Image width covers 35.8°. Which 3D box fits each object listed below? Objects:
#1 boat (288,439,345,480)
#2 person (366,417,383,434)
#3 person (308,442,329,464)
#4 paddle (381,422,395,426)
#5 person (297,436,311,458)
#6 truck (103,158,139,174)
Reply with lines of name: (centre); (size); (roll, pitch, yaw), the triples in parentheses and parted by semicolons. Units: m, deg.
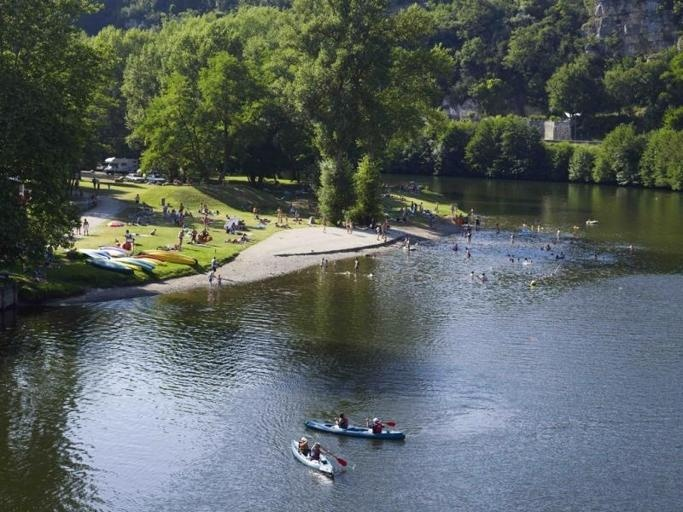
boat: (-2.521, 18.468, 96.130); (2.412, 0.836, 4.438); (-9, 32, -43)
person: (3.179, 15.716, 99.234); (1.131, 2.186, 1.429); (-1, 12, 1)
person: (-2.151, 17.648, 96.373); (1.163, 0.694, 1.718); (6, 22, -6)
paddle: (4.245, 15.605, 99.320); (1.518, 0.435, 0.419); (1, 3, 29)
person: (-3.483, 17.442, 96.934); (1.110, 2.686, 0.948); (-6, 17, -3)
truck: (-42.682, -18.186, 207.829); (5.781, 3.247, 3.755); (-1, 3, -32)
